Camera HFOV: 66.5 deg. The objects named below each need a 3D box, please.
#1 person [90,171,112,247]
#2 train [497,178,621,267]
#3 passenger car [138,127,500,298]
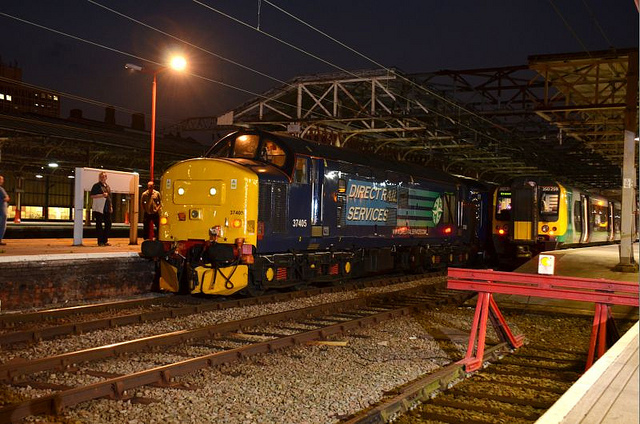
[{"bbox_3d":[-7.822,-0.088,17.406,0.654,2.718,1.087,1,3,-24],"label":"person"},{"bbox_3d":[15.492,0.799,31.732,3.588,4.612,20.384,-1,-3,37],"label":"train"},{"bbox_3d":[2.539,0.158,20.388,3.233,5.339,19.923,4,3,40],"label":"passenger car"}]
